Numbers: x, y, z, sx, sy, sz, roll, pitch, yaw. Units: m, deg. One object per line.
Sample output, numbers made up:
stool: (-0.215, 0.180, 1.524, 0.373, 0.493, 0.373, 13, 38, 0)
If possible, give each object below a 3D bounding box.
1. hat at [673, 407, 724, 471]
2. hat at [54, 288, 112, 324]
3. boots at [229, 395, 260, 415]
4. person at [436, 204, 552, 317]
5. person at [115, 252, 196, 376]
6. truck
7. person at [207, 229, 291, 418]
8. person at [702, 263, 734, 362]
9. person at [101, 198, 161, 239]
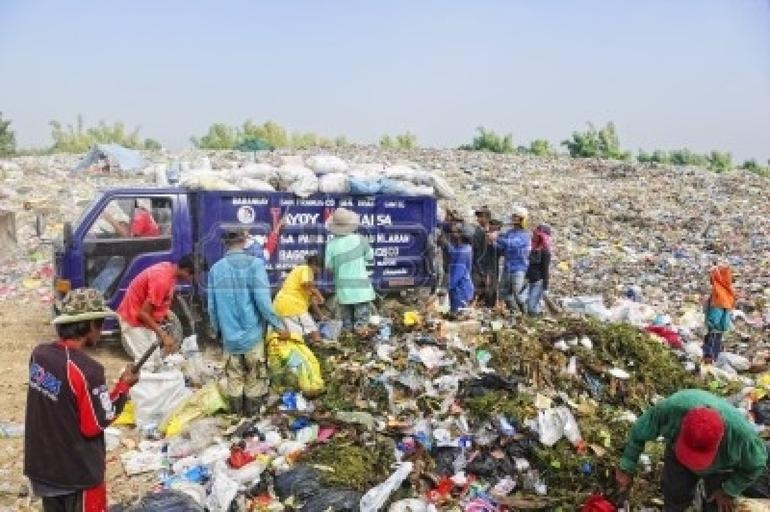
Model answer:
hat: (3.361, 1.906, 8.665, 0.463, 0.669, 0.270, 10, -28, 8)
hat: (-3.191, 0.545, 8.554, 0.453, 0.204, 0.409, -6, -3, 5)
boots: (-1.805, 1.929, 10.471, 0.408, 0.279, 0.230, 2, -2, -11)
person: (2.104, 0.078, 12.743, 0.919, 1.650, 0.328, 1, 4, 19)
person: (-3.139, 0.800, 11.207, 0.735, 0.742, 1.591, 7, -36, -29)
truck: (-2.153, 0.281, 12.853, 5.088, 2.009, 2.457, 1, 0, -8)
person: (-1.814, 0.854, 10.458, 0.872, 2.373, 0.322, -1, 4, -9)
person: (4.713, 0.833, 11.563, 0.470, 1.348, 0.266, -2, 4, -25)
person: (-3.893, -0.496, 12.478, 0.916, 0.573, 0.595, -1, 17, -8)
